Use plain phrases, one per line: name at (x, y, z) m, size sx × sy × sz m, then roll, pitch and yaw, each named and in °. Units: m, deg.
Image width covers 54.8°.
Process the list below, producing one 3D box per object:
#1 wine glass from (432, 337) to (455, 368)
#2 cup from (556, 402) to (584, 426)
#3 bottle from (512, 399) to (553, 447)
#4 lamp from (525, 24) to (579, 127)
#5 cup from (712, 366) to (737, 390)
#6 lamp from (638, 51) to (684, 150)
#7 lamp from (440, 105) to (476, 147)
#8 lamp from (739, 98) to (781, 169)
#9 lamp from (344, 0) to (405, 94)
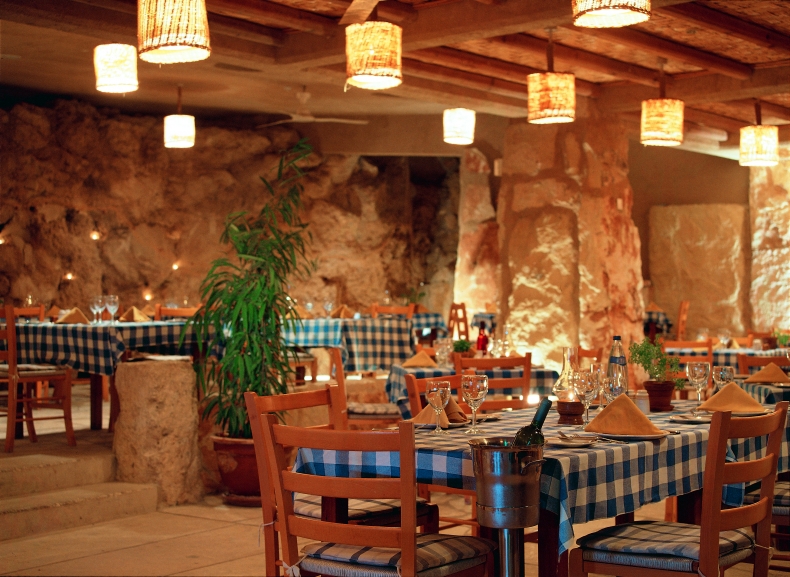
wine glass at (0.387, 0.515, 5.913) m, size 0.159 × 0.192 × 0.165 m, roll 1°, pitch -6°, yaw -19°
cup at (0.773, 0.562, 3.413) m, size 0.098 × 0.078 × 0.099 m, roll 0°, pitch -4°, yaw 0°
bottle at (0.549, 0.549, 3.092) m, size 0.073 × 0.075 × 0.172 m, roll 23°, pitch 47°, yaw 4°
lamp at (1.306, -1.742, 6.345) m, size 0.340 × 0.750 × 1.039 m, roll 1°, pitch 14°, yaw 14°
cup at (1.680, 0.469, 4.001) m, size 0.134 × 0.162 × 0.145 m, roll 0°, pitch -8°, yaw 0°
lamp at (2.312, -1.595, 6.635) m, size 0.321 × 0.753 × 1.040 m, roll 2°, pitch 15°, yaw 19°
lamp at (0.739, -1.778, 8.571) m, size 0.458 × 0.471 × 0.476 m, roll -1°, pitch 5°, yaw -22°
lamp at (3.646, -1.534, 7.705) m, size 0.342 × 0.659 × 1.340 m, roll 4°, pitch 15°, yaw 24°
lamp at (-0.166, -1.537, 5.056) m, size 0.345 × 0.431 × 0.435 m, roll -6°, pitch 14°, yaw -13°
